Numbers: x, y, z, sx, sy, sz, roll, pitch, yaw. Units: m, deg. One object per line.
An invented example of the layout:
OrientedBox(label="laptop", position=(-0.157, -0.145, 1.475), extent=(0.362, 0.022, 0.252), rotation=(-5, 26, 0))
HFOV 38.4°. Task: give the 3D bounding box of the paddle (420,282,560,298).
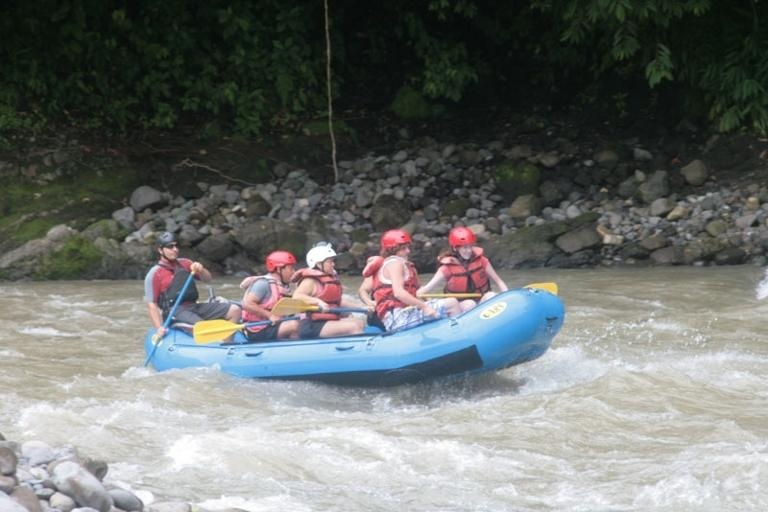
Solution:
OrientedBox(label="paddle", position=(1.974, 0.642, 20.563), extent=(3.320, 0.291, 0.109), rotation=(-3, 16, 0))

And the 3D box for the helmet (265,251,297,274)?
OrientedBox(label="helmet", position=(-1.893, 0.112, 20.351), extent=(0.549, 0.290, 0.396), rotation=(8, 0, -7))

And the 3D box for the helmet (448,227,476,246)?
OrientedBox(label="helmet", position=(1.423, -0.367, 20.352), extent=(0.371, 0.300, 0.477), rotation=(-16, 24, -42))

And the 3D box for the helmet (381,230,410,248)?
OrientedBox(label="helmet", position=(0.200, -0.308, 19.838), extent=(0.455, 0.227, 0.348), rotation=(-2, 3, 3))
